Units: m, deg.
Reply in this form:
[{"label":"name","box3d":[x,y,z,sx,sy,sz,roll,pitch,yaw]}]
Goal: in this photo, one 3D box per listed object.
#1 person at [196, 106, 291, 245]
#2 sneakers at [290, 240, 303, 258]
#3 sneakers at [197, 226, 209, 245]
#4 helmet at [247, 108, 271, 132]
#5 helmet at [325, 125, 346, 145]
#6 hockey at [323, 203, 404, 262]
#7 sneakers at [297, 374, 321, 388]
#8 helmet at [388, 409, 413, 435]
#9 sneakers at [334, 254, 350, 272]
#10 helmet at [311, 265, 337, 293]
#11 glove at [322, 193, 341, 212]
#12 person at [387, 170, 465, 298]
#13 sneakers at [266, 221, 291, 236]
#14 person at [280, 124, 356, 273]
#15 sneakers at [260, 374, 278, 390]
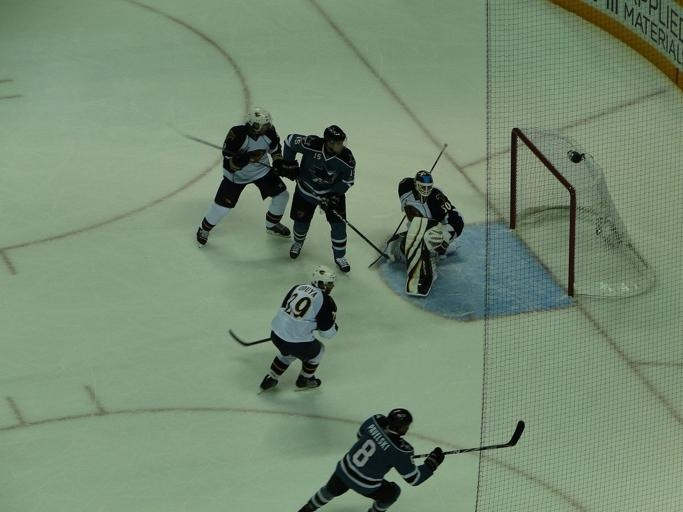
[{"label":"person","box3d":[-1.007,-0.832,9.162,0.992,1.407,0.649,-6,25,-16]},{"label":"sneakers","box3d":[-0.479,-0.076,9.386,0.079,0.092,0.238,14,83,-7]},{"label":"sneakers","box3d":[-1.443,-0.211,9.372,0.086,0.099,0.232,10,37,-36]},{"label":"helmet","box3d":[-0.803,-1.371,8.872,0.232,0.223,0.184,-3,59,1]},{"label":"helmet","box3d":[-0.062,-1.161,8.643,0.192,0.163,0.147,-4,52,8]},{"label":"hockey","box3d":[0.204,-0.228,9.542,0.773,0.035,0.397,42,28,-13]},{"label":"sneakers","box3d":[-0.317,1.128,8.407,0.221,0.151,0.101,-9,27,-7]},{"label":"helmet","box3d":[0.454,1.351,7.355,0.198,0.235,0.161,-6,41,-8]},{"label":"sneakers","box3d":[-0.003,0.043,9.351,0.102,0.086,0.198,-21,50,-14]},{"label":"helmet","box3d":[-0.174,0.189,8.108,0.238,0.226,0.184,7,30,-20]},{"label":"glove","box3d":[-0.107,-0.557,9.001,0.128,0.180,0.184,56,25,12]},{"label":"person","box3d":[0.822,-0.252,9.486,0.772,1.208,0.542,1,2,-4]},{"label":"sneakers","box3d":[-0.674,-0.287,9.580,0.243,0.103,0.112,4,49,-5]},{"label":"person","box3d":[-0.248,-0.630,9.066,0.728,1.553,0.547,5,40,5]},{"label":"sneakers","box3d":[-0.671,1.162,8.286,0.188,0.121,0.096,-18,35,-27]}]
